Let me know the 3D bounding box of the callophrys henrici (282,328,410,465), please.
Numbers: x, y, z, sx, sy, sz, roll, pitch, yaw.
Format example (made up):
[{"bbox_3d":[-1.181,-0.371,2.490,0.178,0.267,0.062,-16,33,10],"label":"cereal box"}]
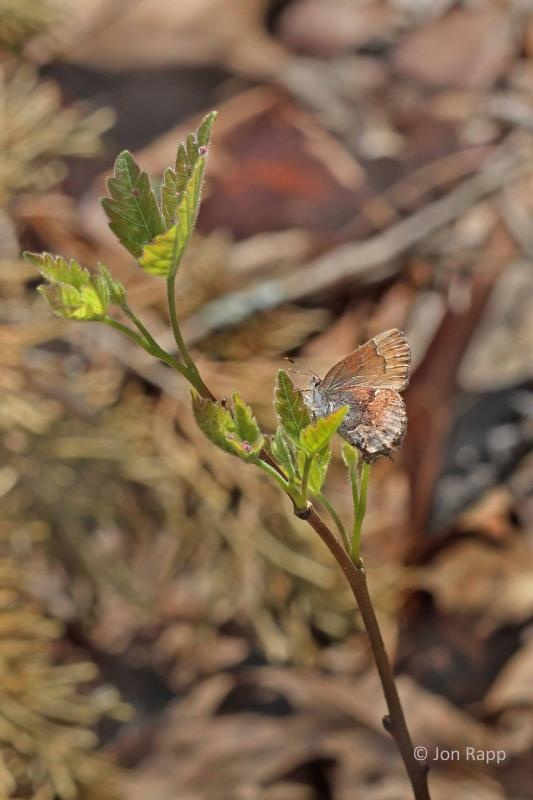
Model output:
[{"bbox_3d":[0.073,-0.006,0.769,0.127,0.093,0.143,26,37,36],"label":"callophrys henrici"}]
